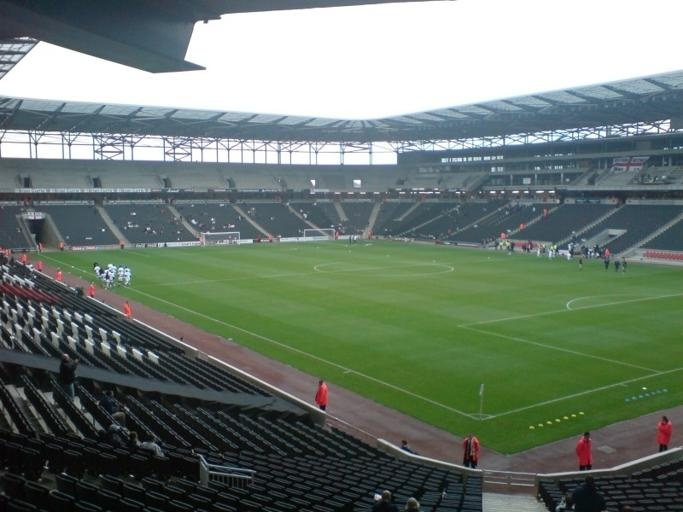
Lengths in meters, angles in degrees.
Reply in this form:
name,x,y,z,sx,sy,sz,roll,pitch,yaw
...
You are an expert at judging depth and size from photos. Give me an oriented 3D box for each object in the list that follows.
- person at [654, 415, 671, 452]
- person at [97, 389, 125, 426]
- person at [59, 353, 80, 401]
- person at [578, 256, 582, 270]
name,x,y,z,sx,sy,sz,roll,pitch,yaw
person,9.898,5.372,23.086,0.392,1.214,1.268,0,2,22
person,-6.351,4.167,20.622,0.533,0.469,0.795,-28,-12,-48
person,-7.613,3.379,20.936,0.469,1.502,1.462,-2,3,-20
person,18.216,0.573,57.622,0.467,0.970,0.266,4,-13,-5
